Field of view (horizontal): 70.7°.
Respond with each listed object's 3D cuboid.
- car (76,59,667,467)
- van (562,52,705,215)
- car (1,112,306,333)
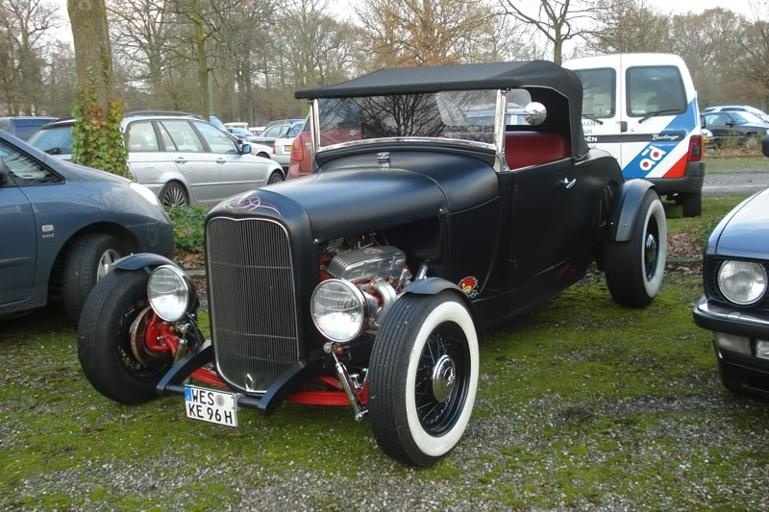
[{"bbox_3d":[0.302,-0.387,4.914,2.504,2.186,4.362,3,12,39],"label":"car"},{"bbox_3d":[4.753,-2.558,10.402,2.001,2.107,3.415,2,13,22],"label":"van"},{"bbox_3d":[-3.739,-1.095,10.111,2.682,2.614,5.233,6,14,38],"label":"car"}]
